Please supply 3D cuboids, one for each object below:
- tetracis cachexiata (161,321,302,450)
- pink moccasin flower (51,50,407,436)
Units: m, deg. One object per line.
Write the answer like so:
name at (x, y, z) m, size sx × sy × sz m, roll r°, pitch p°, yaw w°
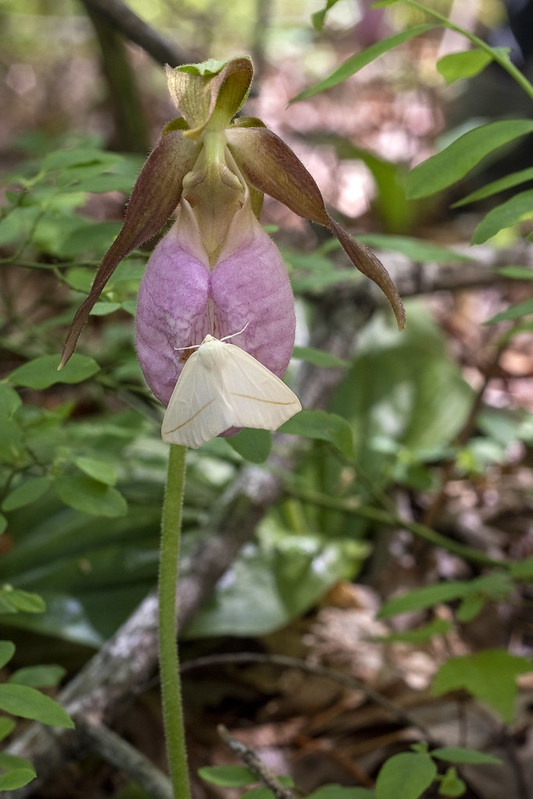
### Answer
tetracis cachexiata at (-0.027, -0.011, 0.534) m, size 0.081 × 0.077 × 0.077 m, roll -15°, pitch 22°, yaw -38°
pink moccasin flower at (-0.048, -0.132, 0.579) m, size 0.213 × 0.262 × 0.134 m, roll 2°, pitch 16°, yaw -14°
